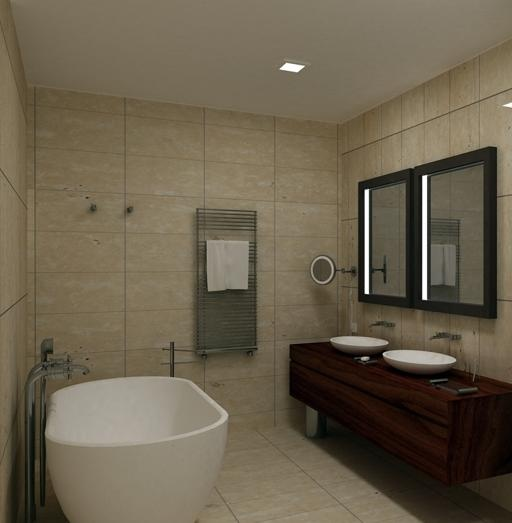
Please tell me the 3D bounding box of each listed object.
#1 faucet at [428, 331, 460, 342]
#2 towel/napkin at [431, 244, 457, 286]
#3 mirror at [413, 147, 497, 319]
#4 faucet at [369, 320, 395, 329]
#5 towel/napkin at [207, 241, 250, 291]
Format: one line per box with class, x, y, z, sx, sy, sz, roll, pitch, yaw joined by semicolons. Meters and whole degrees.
faucet;1.208;0.482;3.149;0.184;0.081;0.182;0;1;22
towel/napkin;1.191;0.018;3.162;0.188;0.216;0.065;-2;3;-37
mirror;1.220;-0.167;3.089;0.088;0.971;0.670;-1;1;-21
faucet;0.951;0.455;3.670;0.241;0.086;0.072;2;-6;-20
towel/napkin;-0.230;0.026;3.792;0.360;0.421;0.046;0;-1;-25
